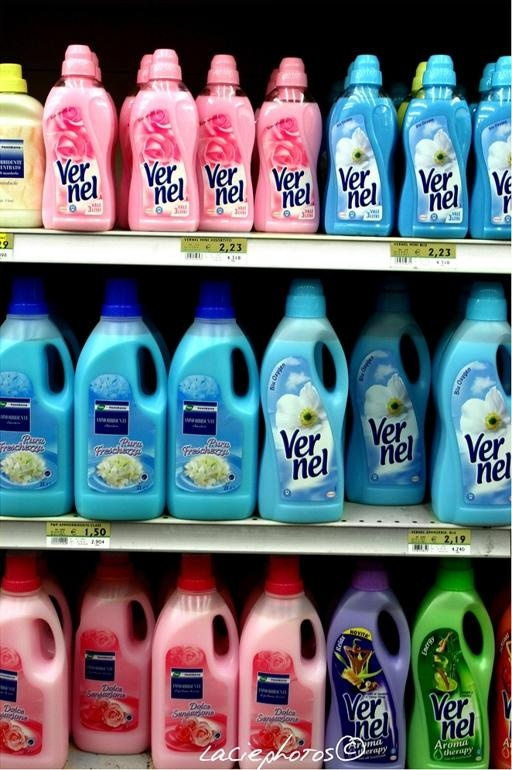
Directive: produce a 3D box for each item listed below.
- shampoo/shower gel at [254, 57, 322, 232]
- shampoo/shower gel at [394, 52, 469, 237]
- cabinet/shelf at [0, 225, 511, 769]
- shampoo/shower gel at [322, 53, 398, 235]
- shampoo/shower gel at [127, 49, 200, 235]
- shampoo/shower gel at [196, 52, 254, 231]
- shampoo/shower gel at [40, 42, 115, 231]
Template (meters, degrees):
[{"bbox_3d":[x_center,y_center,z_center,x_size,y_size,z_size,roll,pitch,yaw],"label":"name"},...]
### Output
[{"bbox_3d":[0.055,-0.362,1.099,0.125,0.237,0.108,-3,-13,2],"label":"shampoo/shower gel"},{"bbox_3d":[0.294,-0.389,1.060,0.132,0.282,0.093,-7,-14,15],"label":"shampoo/shower gel"},{"bbox_3d":[-0.005,0.038,1.104,0.883,0.559,0.290,-3,-13,-3],"label":"cabinet/shelf"},{"bbox_3d":[0.173,-0.398,1.077,0.130,0.289,0.096,-5,-13,8],"label":"shampoo/shower gel"},{"bbox_3d":[-0.154,-0.394,1.044,0.113,0.286,0.097,-1,-13,-9],"label":"shampoo/shower gel"},{"bbox_3d":[-0.048,-0.401,1.091,0.118,0.288,0.106,1,-14,-18],"label":"shampoo/shower gel"},{"bbox_3d":[-0.292,-0.391,1.046,0.114,0.286,0.088,1,-13,-15],"label":"shampoo/shower gel"}]
